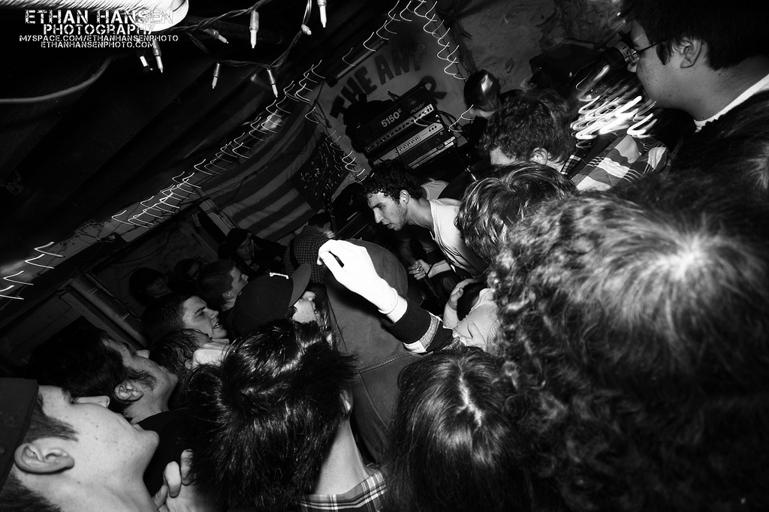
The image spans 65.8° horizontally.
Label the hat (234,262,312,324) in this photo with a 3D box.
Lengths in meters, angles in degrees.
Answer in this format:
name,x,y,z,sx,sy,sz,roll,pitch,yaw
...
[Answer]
name,x,y,z,sx,sy,sz,roll,pitch,yaw
hat,-0.686,0.257,3.687,0.439,0.162,0.309,-37,42,-6
